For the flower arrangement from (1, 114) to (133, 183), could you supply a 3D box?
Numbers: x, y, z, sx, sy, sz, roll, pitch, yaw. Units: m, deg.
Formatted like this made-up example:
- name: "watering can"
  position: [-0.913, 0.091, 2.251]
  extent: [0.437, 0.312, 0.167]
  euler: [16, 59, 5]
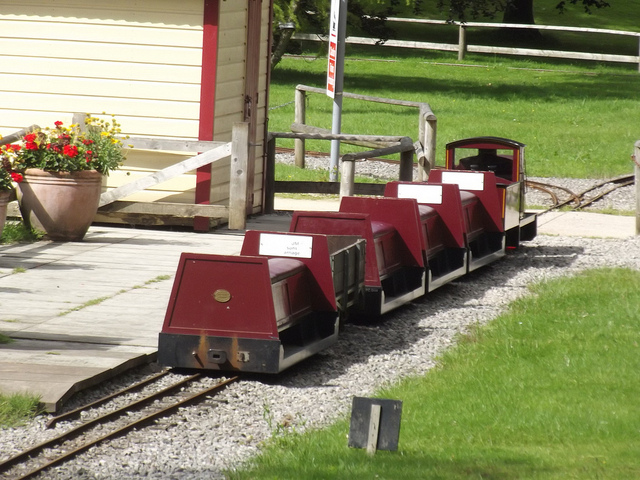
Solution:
- name: "flower arrangement"
  position: [-3.585, -1.268, 15.769]
  extent: [1.428, 1.002, 1.431]
  euler: [6, 12, 19]

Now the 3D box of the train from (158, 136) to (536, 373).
- name: "train"
  position: [0.930, 0.068, 14.219]
  extent: [1.267, 1.695, 8.208]
  euler: [8, 17, 28]
